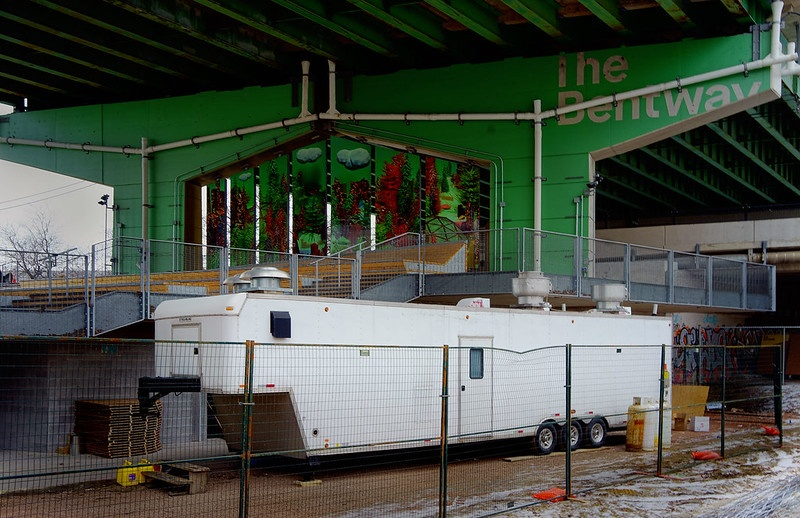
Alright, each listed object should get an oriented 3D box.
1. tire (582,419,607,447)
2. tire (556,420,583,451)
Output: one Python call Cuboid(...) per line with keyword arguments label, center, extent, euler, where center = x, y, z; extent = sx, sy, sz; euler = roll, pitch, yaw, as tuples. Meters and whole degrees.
Cuboid(label="tire", center=(6.600, 5.885, 40.169), extent=(0.324, 1.020, 1.036), euler=(2, -2, 45))
Cuboid(label="tire", center=(5.563, 5.735, 38.646), extent=(0.436, 1.234, 1.255), euler=(-11, -30, 26))
